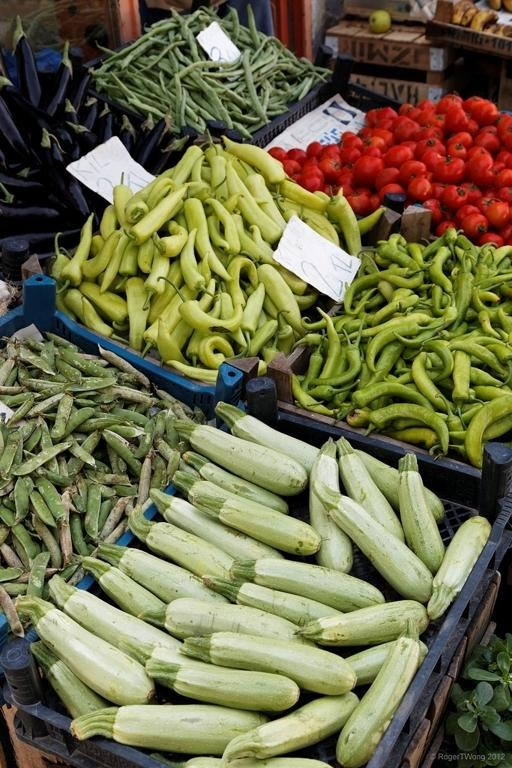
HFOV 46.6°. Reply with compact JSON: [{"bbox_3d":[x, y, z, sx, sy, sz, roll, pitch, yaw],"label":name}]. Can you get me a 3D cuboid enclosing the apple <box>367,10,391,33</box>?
[{"bbox_3d":[1.473,-4.472,7.370,0.275,0.280,0.267,-19,40,-13],"label":"apple"}]
